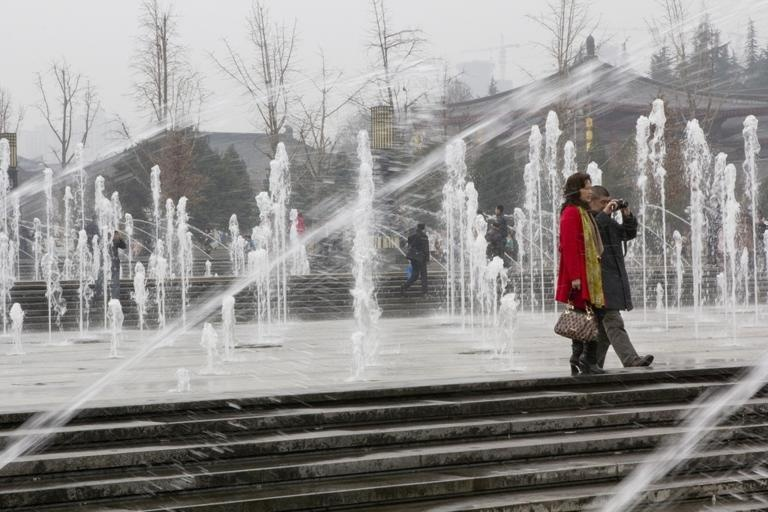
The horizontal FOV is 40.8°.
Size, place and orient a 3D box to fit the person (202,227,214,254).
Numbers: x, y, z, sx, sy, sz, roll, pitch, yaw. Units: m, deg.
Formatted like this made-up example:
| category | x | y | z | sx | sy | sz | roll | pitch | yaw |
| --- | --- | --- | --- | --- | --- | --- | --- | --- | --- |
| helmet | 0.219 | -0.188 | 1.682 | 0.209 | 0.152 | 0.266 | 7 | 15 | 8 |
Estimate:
| category | x | y | z | sx | sy | sz | roll | pitch | yaw |
| --- | --- | --- | --- | --- | --- | --- | --- | --- | --- |
| person | -7.501 | -0.802 | 43.840 | 0.477 | 1.011 | 1.667 | -2 | -2 | -10 |

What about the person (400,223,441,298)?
| category | x | y | z | sx | sy | sz | roll | pitch | yaw |
| --- | --- | --- | --- | --- | --- | --- | --- | --- | --- |
| person | 0.848 | 0.044 | 28.489 | 0.704 | 1.927 | 1.069 | -2 | -2 | 3 |

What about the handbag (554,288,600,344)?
| category | x | y | z | sx | sy | sz | roll | pitch | yaw |
| --- | --- | --- | --- | --- | --- | --- | --- | --- | --- |
| handbag | 3.222 | 1.112 | 17.374 | 0.682 | 0.652 | 0.306 | -2 | -2 | 9 |

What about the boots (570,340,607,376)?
| category | x | y | z | sx | sy | sz | roll | pitch | yaw |
| --- | --- | --- | --- | --- | --- | --- | --- | --- | --- |
| boots | 3.368 | 1.732 | 17.399 | 0.768 | 0.726 | 0.379 | -3 | -1 | 1 |

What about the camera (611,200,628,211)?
| category | x | y | z | sx | sy | sz | roll | pitch | yaw |
| --- | --- | --- | --- | --- | --- | --- | --- | --- | --- |
| camera | 4.054 | -0.885 | 17.720 | 0.197 | 0.109 | 0.199 | -4 | 1 | -25 |
